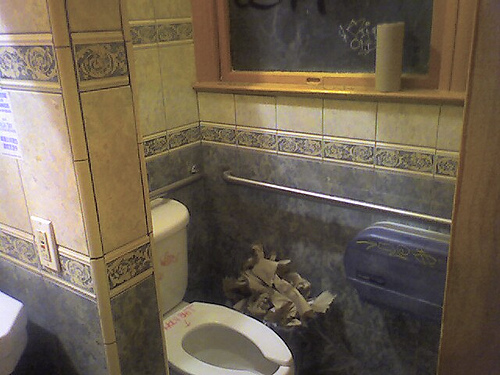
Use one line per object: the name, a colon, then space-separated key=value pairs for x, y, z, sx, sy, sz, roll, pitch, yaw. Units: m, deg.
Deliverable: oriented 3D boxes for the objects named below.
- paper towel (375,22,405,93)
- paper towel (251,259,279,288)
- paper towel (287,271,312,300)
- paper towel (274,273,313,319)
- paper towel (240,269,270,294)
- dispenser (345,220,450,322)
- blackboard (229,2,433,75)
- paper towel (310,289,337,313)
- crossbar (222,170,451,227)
paper towel: x=0.565 y=-0.530 z=1.678 sx=0.108 sy=0.265 sz=0.125 roll=6 pitch=20 yaw=17
paper towel: x=0.079 y=0.451 z=2.223 sx=0.138 sy=0.131 sz=0.050 roll=12 pitch=23 yaw=31
paper towel: x=0.262 y=0.509 z=2.177 sx=0.041 sy=0.137 sz=0.089 roll=-39 pitch=3 yaw=40
paper towel: x=0.219 y=0.553 z=2.129 sx=0.164 sy=0.206 sz=0.170 roll=18 pitch=30 yaw=36
paper towel: x=0.033 y=0.516 z=2.229 sx=0.115 sy=0.043 sz=0.096 roll=37 pitch=16 yaw=14
dispenser: x=0.644 y=0.350 z=1.818 sx=0.431 sy=0.378 sz=0.140 roll=14 pitch=24 yaw=34
blackboard: x=0.309 y=-0.684 z=1.870 sx=0.969 sy=0.320 sz=0.028 roll=12 pitch=23 yaw=30
paper towel: x=0.369 y=0.595 z=2.088 sx=0.117 sy=0.140 sz=0.082 roll=-16 pitch=25 yaw=-37
crossbar: x=0.375 y=0.037 z=2.002 sx=1.209 sy=0.049 sz=0.148 roll=11 pitch=41 yaw=22
